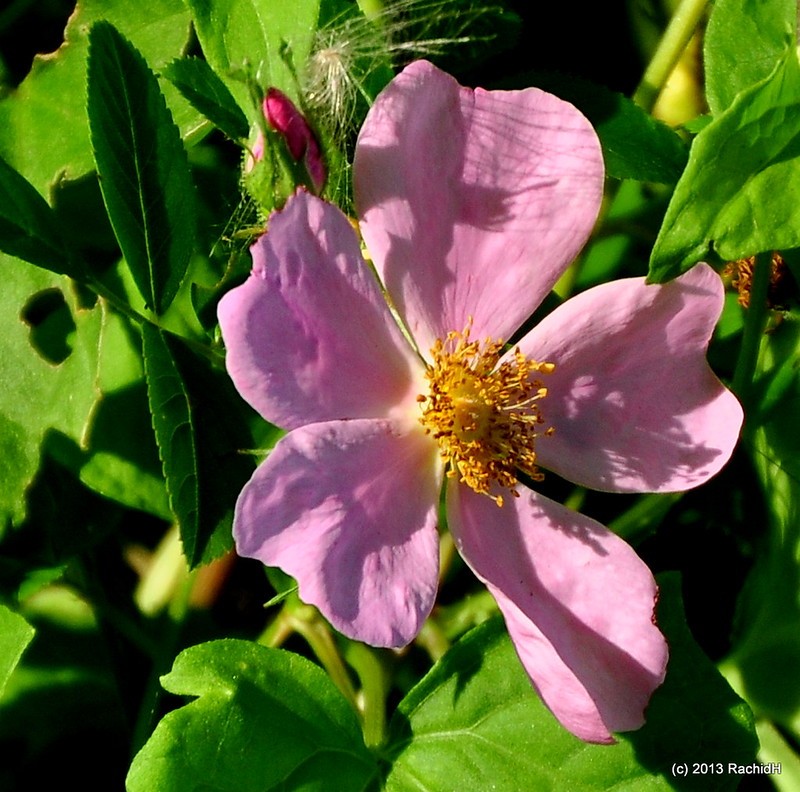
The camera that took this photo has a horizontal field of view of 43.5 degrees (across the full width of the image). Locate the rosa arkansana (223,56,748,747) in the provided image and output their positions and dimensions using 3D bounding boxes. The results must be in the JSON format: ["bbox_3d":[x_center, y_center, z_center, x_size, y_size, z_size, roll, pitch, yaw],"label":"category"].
[{"bbox_3d":[0.084,0.018,0.864,0.386,0.345,0.489,25,67,25],"label":"rosa arkansana"}]
